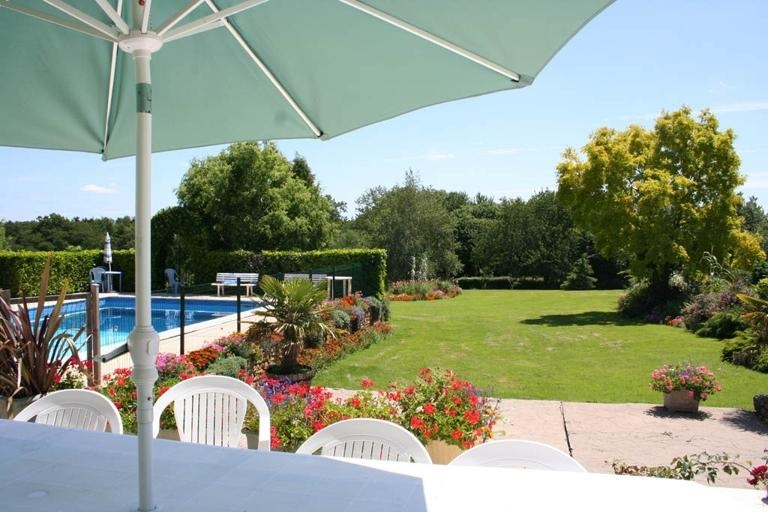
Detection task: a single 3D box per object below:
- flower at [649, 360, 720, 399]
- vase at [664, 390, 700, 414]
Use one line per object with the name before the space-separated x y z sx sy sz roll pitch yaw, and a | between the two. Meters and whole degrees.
flower | 5.244 2.125 10.182 0.808 0.509 0.825 -4 3 -22
vase | 5.097 2.479 10.010 0.332 0.222 0.511 -2 -10 11
